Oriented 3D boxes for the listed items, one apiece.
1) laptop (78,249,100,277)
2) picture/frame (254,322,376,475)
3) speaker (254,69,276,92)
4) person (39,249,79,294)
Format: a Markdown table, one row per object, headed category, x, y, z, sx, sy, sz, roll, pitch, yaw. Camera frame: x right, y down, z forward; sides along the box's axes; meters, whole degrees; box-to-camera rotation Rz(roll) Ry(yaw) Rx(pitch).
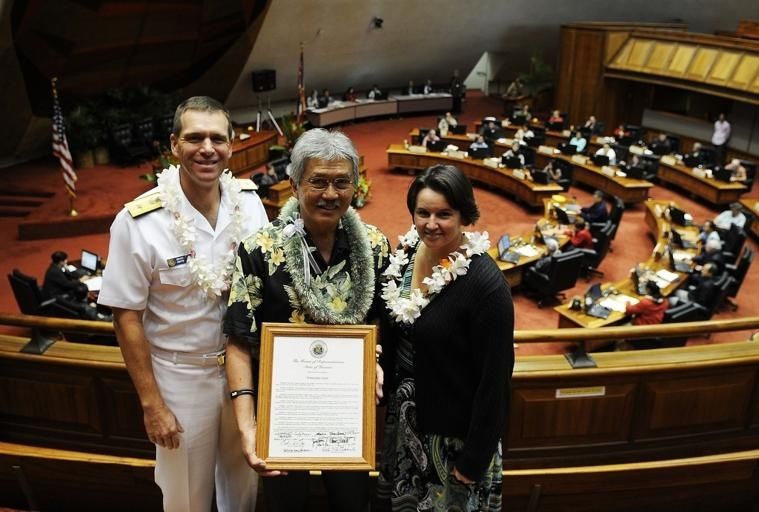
| category | x | y | z | sx | sy | sz | roll | pitch | yaw |
| --- | --- | --- | --- | --- | --- | --- | --- | --- | --- |
| laptop | -4.971 | 0.122 | 9.279 | 0.370 | 0.270 | 0.269 | 31 | 9 | 5 |
| picture/frame | -0.414 | 0.898 | 3.412 | 0.950 | 1.106 | 0.088 | 1 | -5 | -5 |
| speaker | -3.873 | -5.864 | 18.085 | 0.707 | 0.600 | 0.251 | -13 | 28 | -31 |
| person | -5.318 | 0.271 | 9.001 | 0.325 | 0.717 | 0.410 | 28 | 36 | 34 |
